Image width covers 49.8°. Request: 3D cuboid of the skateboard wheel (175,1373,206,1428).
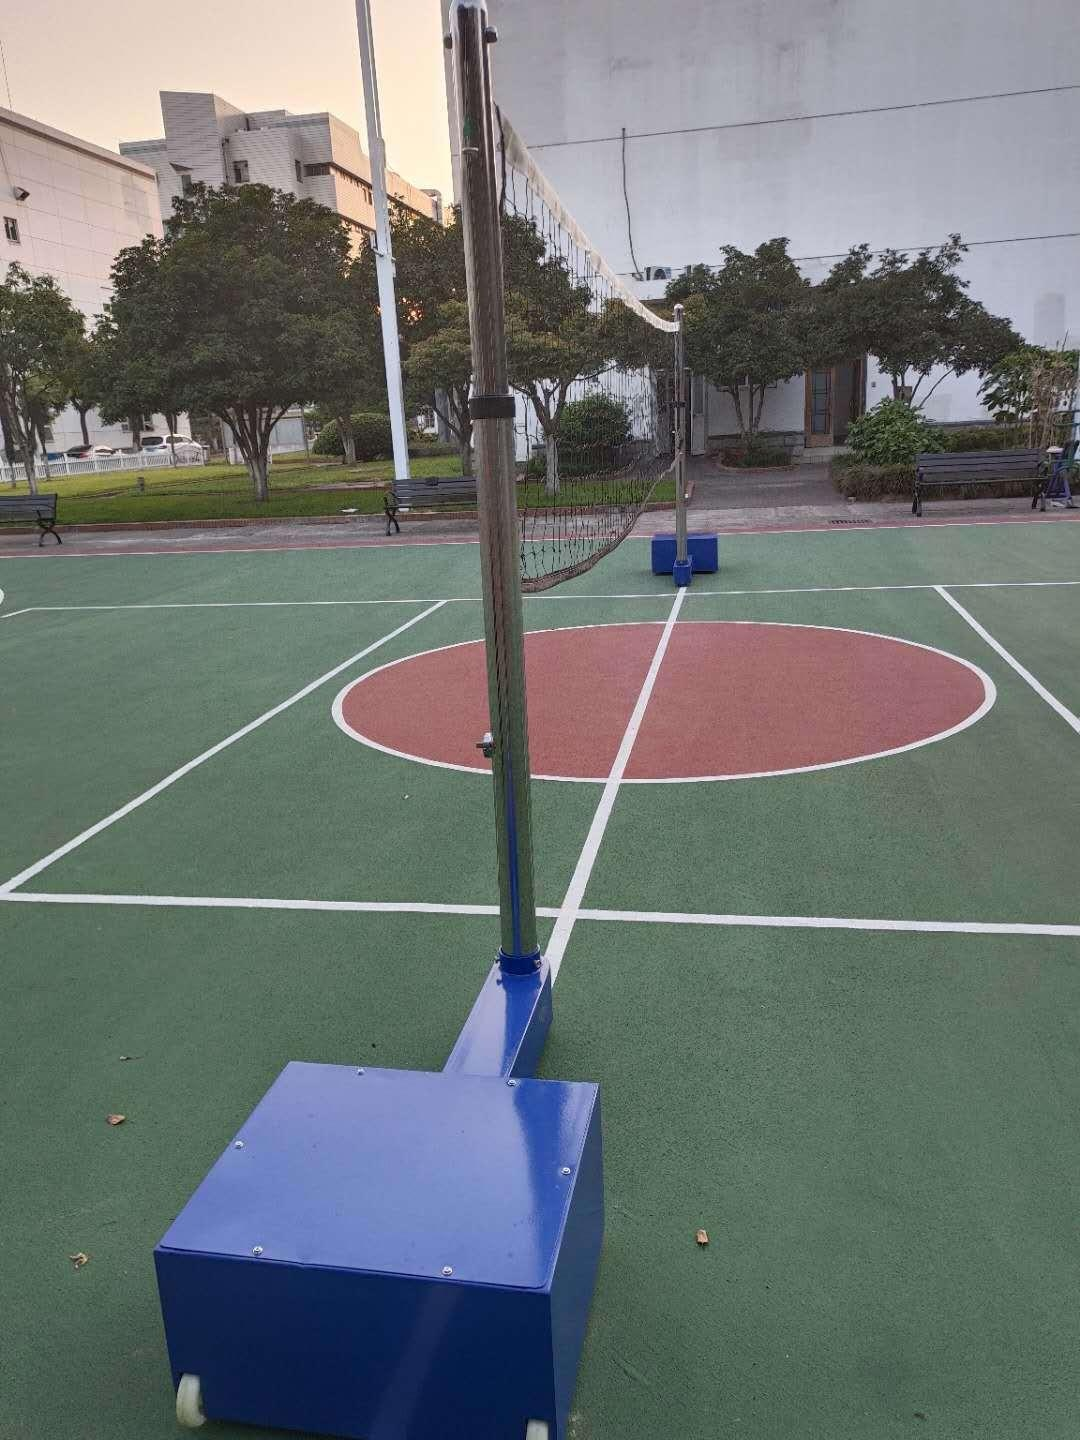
[{"bbox_3d":[-0.712,1.373,2.369,0.023,0.079,0.097,-6,56,-1],"label":"skateboard wheel"}]
